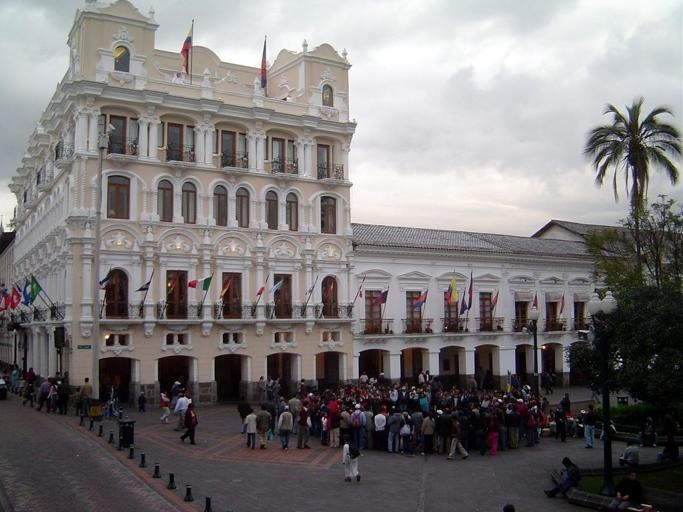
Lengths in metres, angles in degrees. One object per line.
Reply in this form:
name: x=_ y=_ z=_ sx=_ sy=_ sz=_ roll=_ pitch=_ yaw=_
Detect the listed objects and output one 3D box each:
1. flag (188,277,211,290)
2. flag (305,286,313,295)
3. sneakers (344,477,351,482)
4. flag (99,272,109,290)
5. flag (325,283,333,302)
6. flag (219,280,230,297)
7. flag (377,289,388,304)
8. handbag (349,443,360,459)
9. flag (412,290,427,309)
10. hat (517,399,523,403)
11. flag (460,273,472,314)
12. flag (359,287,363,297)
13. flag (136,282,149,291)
flag: x=-8.942 y=1.687 z=52.482 sx=1.326 sy=0.841 sz=2.357 roll=1 pitch=-9 yaw=-12
flag: x=-2.234 y=2.329 z=56.887 sx=0.192 sy=0.552 sz=0.319 roll=26 pitch=-32 yaw=19
sneakers: x=0.214 y=9.066 z=34.373 sx=0.110 sy=0.208 sz=0.288 roll=1 pitch=1 yaw=-34
flag: x=-14.218 y=1.368 z=50.374 sx=0.593 sy=1.195 sz=1.650 roll=2 pitch=-8 yaw=-15
flag: x=-0.913 y=2.562 z=58.444 sx=0.663 sy=1.175 sz=0.157 roll=6 pitch=-10 yaw=-40
flag: x=-7.561 y=2.081 z=54.191 sx=0.604 sy=1.207 sz=1.223 roll=0 pitch=-8 yaw=-1
flag: x=2.851 y=2.793 z=59.266 sx=0.716 sy=1.051 sz=1.659 roll=-1 pitch=-8 yaw=4
handbag: x=0.466 y=7.888 z=34.149 sx=0.556 sy=0.596 sz=0.412 roll=-9 pitch=-12 yaw=44
flag: x=5.656 y=2.943 z=60.181 sx=0.995 sy=1.370 sz=3.334 roll=-1 pitch=-8 yaw=5
hat: x=9.199 y=7.416 z=43.297 sx=0.277 sy=0.122 sz=0.303 roll=0 pitch=-4 yaw=20
flag: x=9.322 y=2.731 z=62.600 sx=0.997 sy=3.066 sz=3.241 roll=-2 pitch=-8 yaw=9
flag: x=1.288 y=2.565 z=59.210 sx=0.131 sy=0.547 sz=0.319 roll=-2 pitch=-8 yaw=9
flag: x=-12.123 y=1.779 z=51.101 sx=0.748 sy=0.600 sz=1.711 roll=1 pitch=-9 yaw=-13
